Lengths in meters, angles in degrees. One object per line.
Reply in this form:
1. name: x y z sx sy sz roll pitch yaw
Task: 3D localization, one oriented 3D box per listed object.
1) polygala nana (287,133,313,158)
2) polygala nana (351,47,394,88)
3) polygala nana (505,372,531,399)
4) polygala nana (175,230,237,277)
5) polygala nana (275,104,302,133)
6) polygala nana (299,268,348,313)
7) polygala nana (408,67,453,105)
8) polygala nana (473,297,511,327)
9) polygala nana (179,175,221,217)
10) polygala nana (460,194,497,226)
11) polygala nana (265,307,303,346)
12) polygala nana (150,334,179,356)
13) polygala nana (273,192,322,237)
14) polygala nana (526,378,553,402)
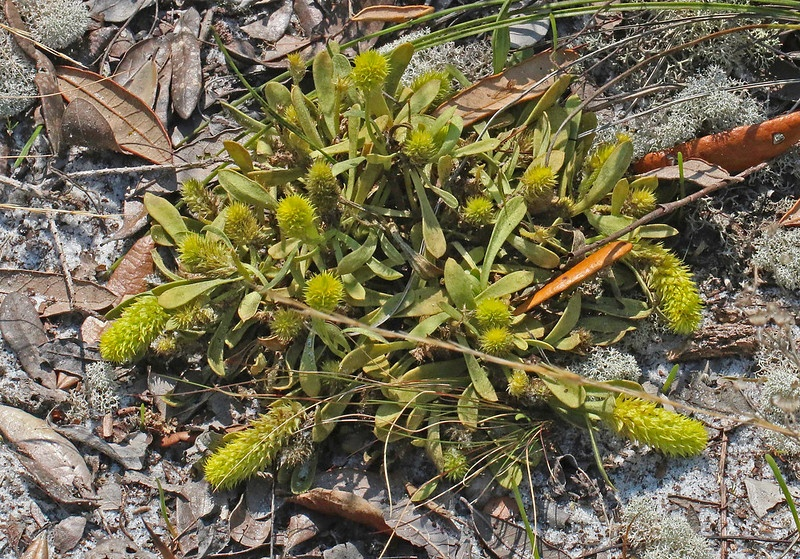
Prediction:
1. polygala nana: -0.407 -0.552 3.972 0.078 0.102 0.034 40 83 -3
2. polygala nana: -0.107 -0.844 3.884 0.141 0.148 0.164 -7 104 2
3. polygala nana: 0.461 0.414 3.866 0.090 0.105 0.098 3 36 -6
4. polygala nana: -0.773 -0.101 3.952 0.236 0.145 0.153 14 110 34
5. polygala nana: -0.446 -0.659 3.976 0.066 0.095 0.101 -22 66 4
6. polygala nana: -0.291 0.054 3.860 0.150 0.151 0.165 -22 116 -25
7. polygala nana: 0.152 -0.816 4.084 0.144 0.143 0.153 -46 118 -32
8. polygala nana: 0.365 0.138 3.853 0.108 0.086 0.121 3 74 -9
9. polygala nana: -0.830 -0.346 4.097 0.165 0.099 0.089 48 53 -36
10. polygala nana: 0.321 -0.287 3.951 0.132 0.157 0.134 3 84 1
11. polygala nana: -0.456 0.212 3.947 0.132 0.143 0.104 -12 118 20
12. polygala nana: -0.969 0.275 4.052 0.089 0.070 0.096 3 92 11
13. polygala nana: -0.392 -0.220 3.774 0.151 0.173 0.166 12 57 21
14. polygala nana: 0.557 0.438 3.873 0.083 0.092 0.092 18 95 9
